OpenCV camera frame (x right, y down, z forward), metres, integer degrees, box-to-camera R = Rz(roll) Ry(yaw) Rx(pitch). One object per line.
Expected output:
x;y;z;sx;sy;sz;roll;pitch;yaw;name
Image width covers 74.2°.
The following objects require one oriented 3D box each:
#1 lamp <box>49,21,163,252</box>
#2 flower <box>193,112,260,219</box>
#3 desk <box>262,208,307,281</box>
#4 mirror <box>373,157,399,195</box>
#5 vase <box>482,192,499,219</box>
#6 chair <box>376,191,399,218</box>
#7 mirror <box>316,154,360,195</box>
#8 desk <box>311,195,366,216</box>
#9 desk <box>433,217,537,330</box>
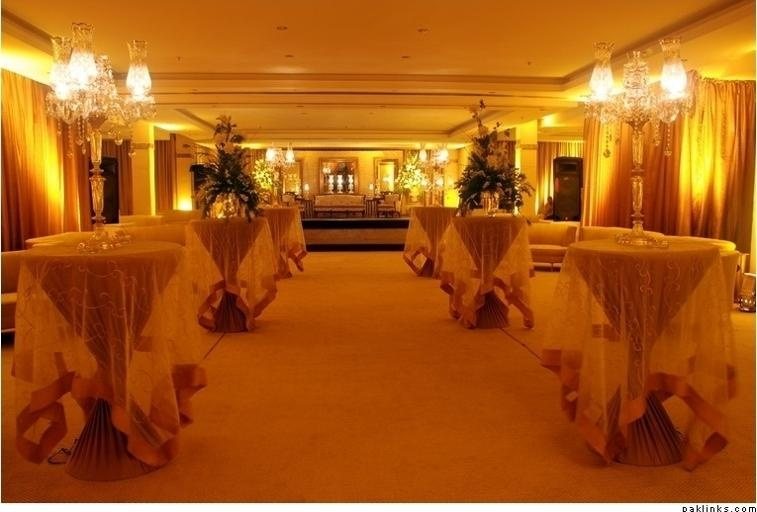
-2.485;-0.974;4.493;1.270;1.773;1.270;-1;16;-36;lamp
-1.932;-1.156;6.428;0.820;1.302;0.566;4;10;21;flower
-1.821;-0.306;9.985;1.246;1.353;1.104;-2;14;-1;desk
0.394;-4.128;25.366;1.200;1.664;0.415;-1;9;-3;mirror
1.474;-0.689;6.617;0.257;0.462;0.276;0;1;0;vase
0.460;-2.339;23.034;1.042;1.653;1.236;0;0;7;chair
-2.101;-4.226;25.406;1.935;1.924;0.238;-1;5;-2;mirror
-1.767;-2.395;23.392;2.411;0.973;1.229;-1;10;-4;desk
1.409;0.193;6.460;1.172;1.409;0.569;2;10;12;desk
